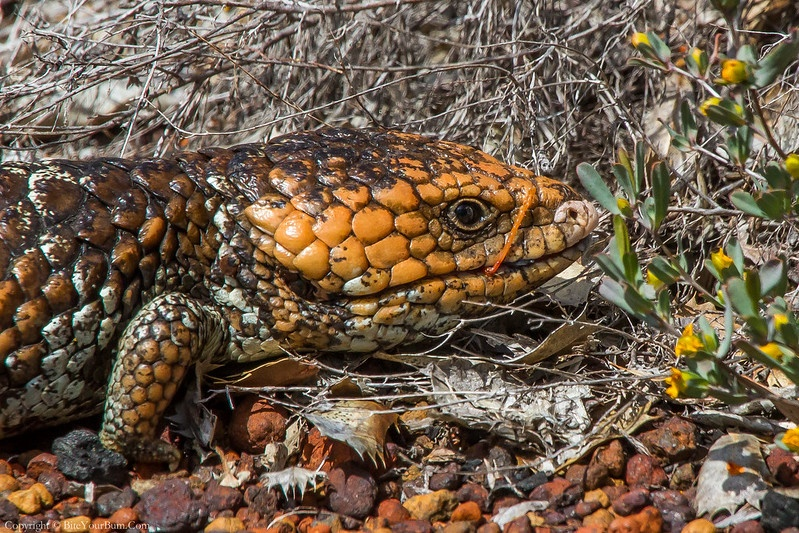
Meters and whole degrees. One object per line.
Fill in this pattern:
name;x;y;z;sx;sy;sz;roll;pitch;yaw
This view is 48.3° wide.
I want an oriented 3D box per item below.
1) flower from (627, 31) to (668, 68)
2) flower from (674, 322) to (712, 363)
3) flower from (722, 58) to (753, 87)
flower;1.323;-1.151;4.649;0.081;0.182;0.197;-42;76;-6
flower;1.424;0.374;4.323;0.167;0.076;0.159;30;84;25
flower;1.620;-0.943;4.297;0.125;0.095;0.115;-23;62;23
